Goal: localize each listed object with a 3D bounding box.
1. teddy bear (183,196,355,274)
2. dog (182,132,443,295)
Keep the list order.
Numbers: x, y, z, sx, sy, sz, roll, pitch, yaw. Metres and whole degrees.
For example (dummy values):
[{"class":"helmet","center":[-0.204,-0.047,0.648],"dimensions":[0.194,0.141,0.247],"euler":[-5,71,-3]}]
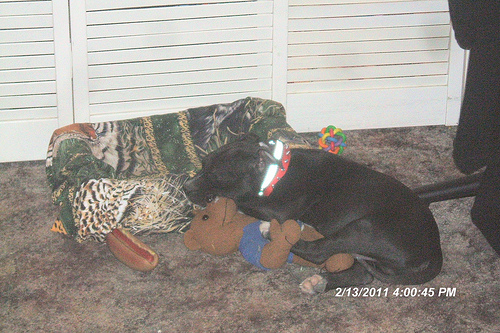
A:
[{"class":"teddy bear","center":[0.128,0.401,2.902],"dimensions":[0.835,0.419,0.292],"euler":[9,74,15]},{"class":"dog","center":[0.434,0.208,3.069],"dimensions":[1.432,0.666,0.704],"euler":[17,84,0]}]
